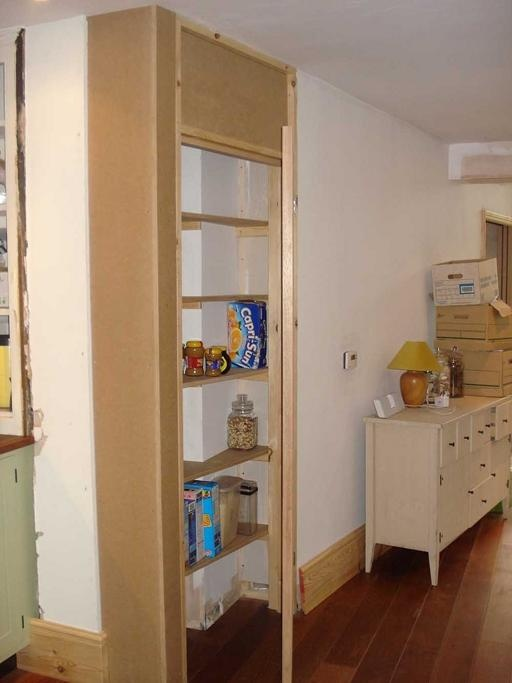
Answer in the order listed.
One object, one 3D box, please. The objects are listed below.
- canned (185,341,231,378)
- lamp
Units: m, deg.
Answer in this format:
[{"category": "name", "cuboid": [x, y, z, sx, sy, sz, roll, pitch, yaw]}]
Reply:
[{"category": "canned", "cuboid": [-0.170, 0.060, 2.097, 0.085, 0.133, 0.159, -4, -6, 42]}, {"category": "lamp", "cuboid": [0.852, 0.155, 3.233, 0.287, 0.404, 0.316, 3, 5, 22]}]
